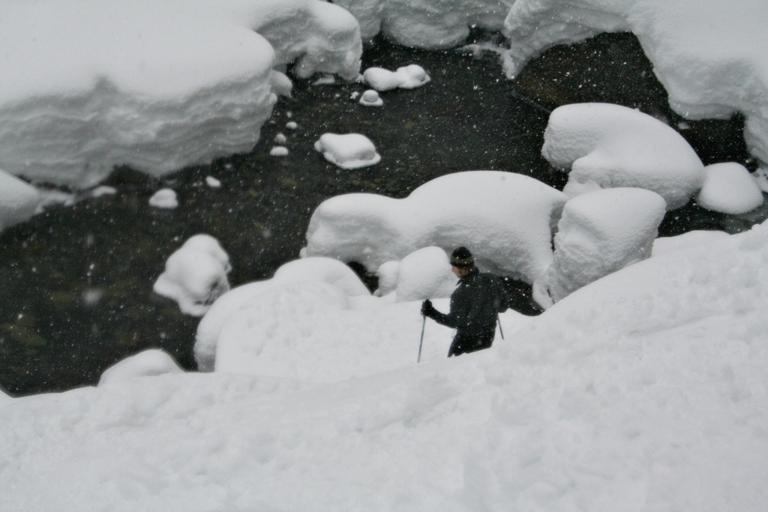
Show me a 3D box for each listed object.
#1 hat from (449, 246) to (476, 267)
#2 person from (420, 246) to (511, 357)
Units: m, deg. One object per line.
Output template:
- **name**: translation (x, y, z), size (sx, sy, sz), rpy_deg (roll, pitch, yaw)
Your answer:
- **hat**: translation (1.093, 0.041, 14.313), size (0.248, 0.223, 0.308), rpy_deg (-25, 45, -21)
- **person**: translation (1.306, 1.017, 14.704), size (1.167, 2.315, 0.761), rpy_deg (-12, 25, -22)
